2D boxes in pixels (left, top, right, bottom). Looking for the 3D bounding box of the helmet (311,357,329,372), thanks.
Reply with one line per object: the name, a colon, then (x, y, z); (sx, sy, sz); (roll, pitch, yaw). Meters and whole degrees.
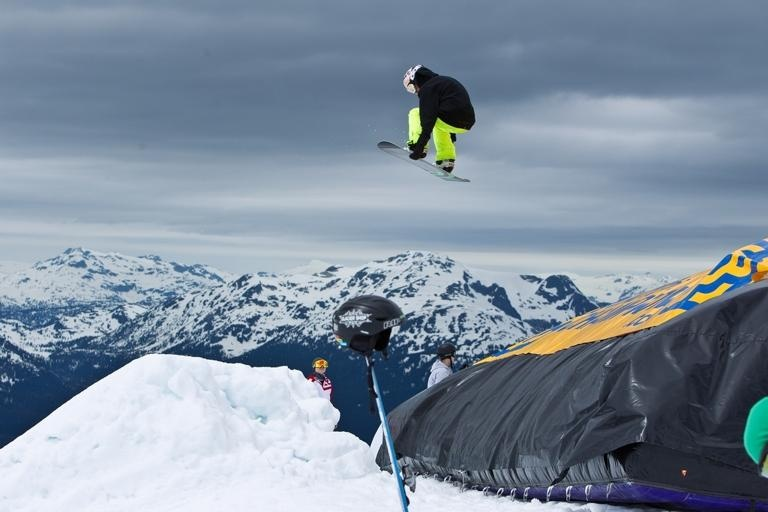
helmet: (-1.404, 2.448, 26.445); (0.435, 0.269, 0.550); (0, -8, -20)
